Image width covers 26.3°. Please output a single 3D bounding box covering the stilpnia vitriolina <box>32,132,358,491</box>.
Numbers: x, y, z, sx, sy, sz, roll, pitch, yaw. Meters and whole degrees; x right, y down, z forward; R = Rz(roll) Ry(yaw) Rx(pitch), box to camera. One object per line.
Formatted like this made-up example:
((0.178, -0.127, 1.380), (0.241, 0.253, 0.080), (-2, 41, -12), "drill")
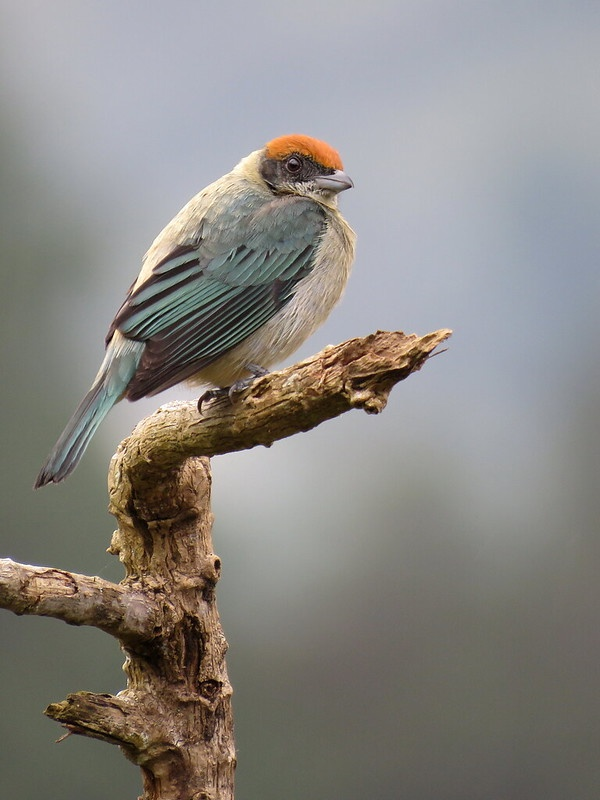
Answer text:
((-0.479, -0.162, 4.074), (0.939, 0.749, 0.484), (-10, 6, 21), "stilpnia vitriolina")
